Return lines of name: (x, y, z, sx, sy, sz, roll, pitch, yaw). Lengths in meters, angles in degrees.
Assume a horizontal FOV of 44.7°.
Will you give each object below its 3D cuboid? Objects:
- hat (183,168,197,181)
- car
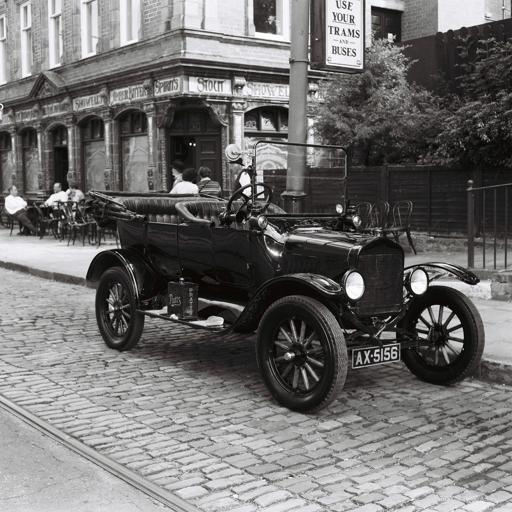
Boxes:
hat: (-1.224, -1.471, 11.429, 0.265, 0.275, 0.295, 2, 14, 1)
car: (-0.037, 0.069, 5.883, 1.866, 2.018, 3.781, -2, 6, -39)
